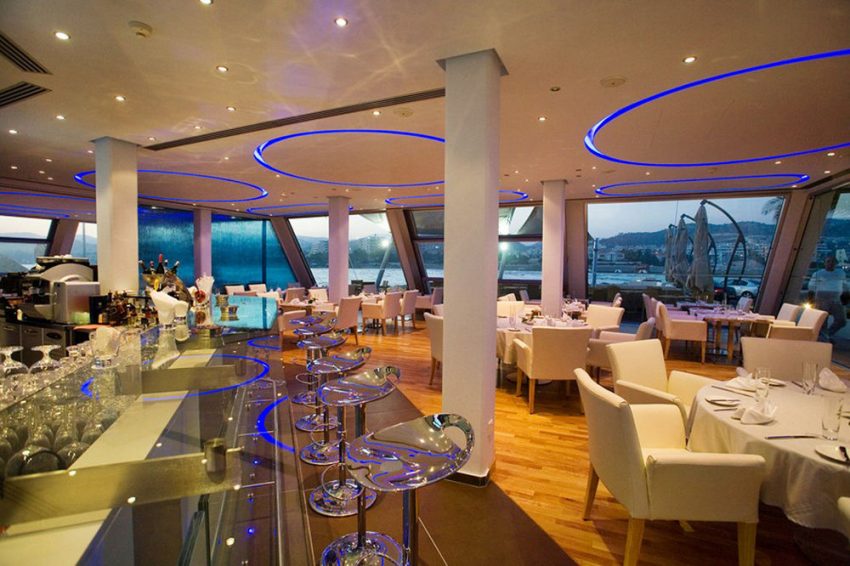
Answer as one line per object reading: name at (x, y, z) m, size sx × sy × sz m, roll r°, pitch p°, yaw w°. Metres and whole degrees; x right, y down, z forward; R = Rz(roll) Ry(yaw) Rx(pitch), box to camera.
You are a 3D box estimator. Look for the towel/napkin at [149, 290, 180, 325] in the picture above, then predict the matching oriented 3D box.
towel/napkin at (-2.361, 0.236, 4.950) m, size 0.322 × 0.331 × 0.292 m, roll -2°, pitch 9°, yaw -31°
